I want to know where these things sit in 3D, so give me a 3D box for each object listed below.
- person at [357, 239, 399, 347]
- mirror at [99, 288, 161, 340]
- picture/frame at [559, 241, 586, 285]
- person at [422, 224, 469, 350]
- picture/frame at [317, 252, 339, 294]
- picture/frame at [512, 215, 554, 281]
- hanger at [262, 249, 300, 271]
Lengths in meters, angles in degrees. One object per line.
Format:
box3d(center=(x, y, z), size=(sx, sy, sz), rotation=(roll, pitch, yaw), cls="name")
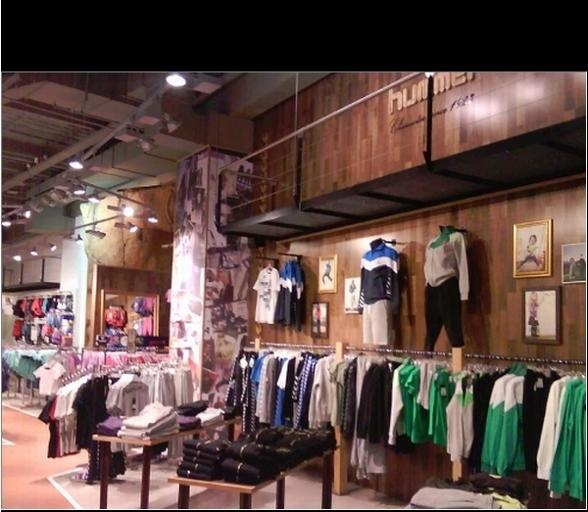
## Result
box3d(center=(0.948, 0.385, 5.563), size=(0.433, 1.164, 0.315), rotation=(0, -7, 10), cls="person")
box3d(center=(-3.329, 1.159, 9.892), size=(0.842, 0.981, 0.038), rotation=(1, 0, -38), cls="mirror")
box3d(center=(2.349, 0.066, 4.166), size=(0.027, 0.457, 0.291), rotation=(6, -7, -33), cls="picture/frame")
box3d(center=(1.490, 0.315, 4.894), size=(0.471, 1.250, 0.312), rotation=(-4, -8, 33), cls="person")
box3d(center=(0.462, 0.226, 6.610), size=(0.040, 0.673, 0.466), rotation=(3, -3, -35), cls="picture/frame")
box3d(center=(2.158, -0.063, 4.456), size=(0.046, 0.795, 0.472), rotation=(10, -9, -35), cls="picture/frame")
box3d(center=(-0.243, 0.032, 7.355), size=(0.256, 0.244, 0.921), rotation=(7, -11, -36), cls="hanger")
